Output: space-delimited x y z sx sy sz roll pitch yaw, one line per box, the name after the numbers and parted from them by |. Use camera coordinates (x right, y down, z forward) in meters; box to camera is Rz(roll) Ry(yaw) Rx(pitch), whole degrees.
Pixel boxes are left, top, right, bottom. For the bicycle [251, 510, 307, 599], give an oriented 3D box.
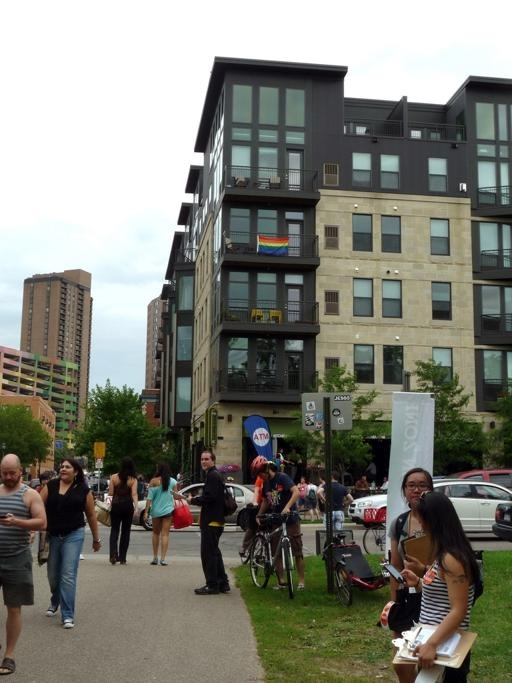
0.239 2.910 10.287 0.611 0.819 1.339 7 -15 -11 | bicycle

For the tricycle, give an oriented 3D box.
1.237 2.887 9.337 0.603 0.527 1.091 4 -13 -15 | tricycle

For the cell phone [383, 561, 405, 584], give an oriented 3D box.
0.736 1.237 3.899 0.032 0.068 0.132 -32 -51 17 | cell phone

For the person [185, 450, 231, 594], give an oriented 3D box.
-0.623 2.506 10.223 0.540 1.928 0.734 1 -7 -2 | person

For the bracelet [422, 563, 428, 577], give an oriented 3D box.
0.884 1.194 3.844 0.035 0.047 0.108 -17 -5 12 | bracelet

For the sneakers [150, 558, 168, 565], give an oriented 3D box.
-1.790 4.014 13.413 0.129 0.150 0.356 8 -17 -29 | sneakers

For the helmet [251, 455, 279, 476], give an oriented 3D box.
0.092 1.770 10.333 0.339 0.288 0.403 -1 -7 16 | helmet
